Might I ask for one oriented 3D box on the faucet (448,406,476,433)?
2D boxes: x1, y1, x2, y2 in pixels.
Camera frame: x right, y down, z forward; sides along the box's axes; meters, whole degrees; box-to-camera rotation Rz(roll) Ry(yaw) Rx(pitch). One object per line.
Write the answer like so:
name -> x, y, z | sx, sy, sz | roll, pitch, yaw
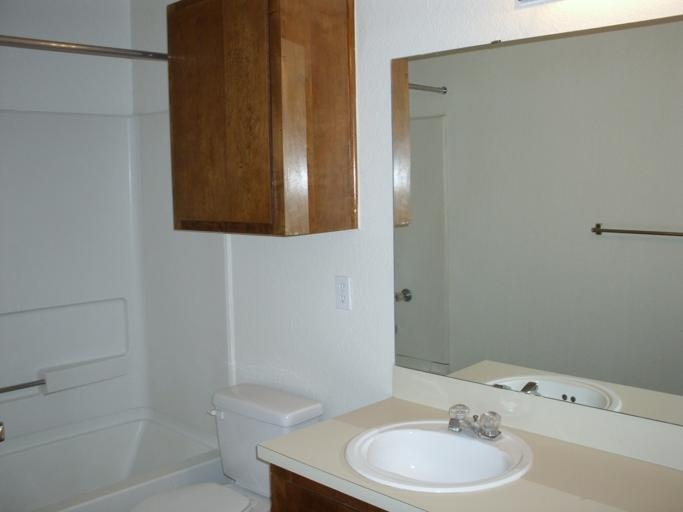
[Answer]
faucet -> 0.408, 0.533, 1.793 | 0.077, 0.095, 0.091 | 5, -8, -44
